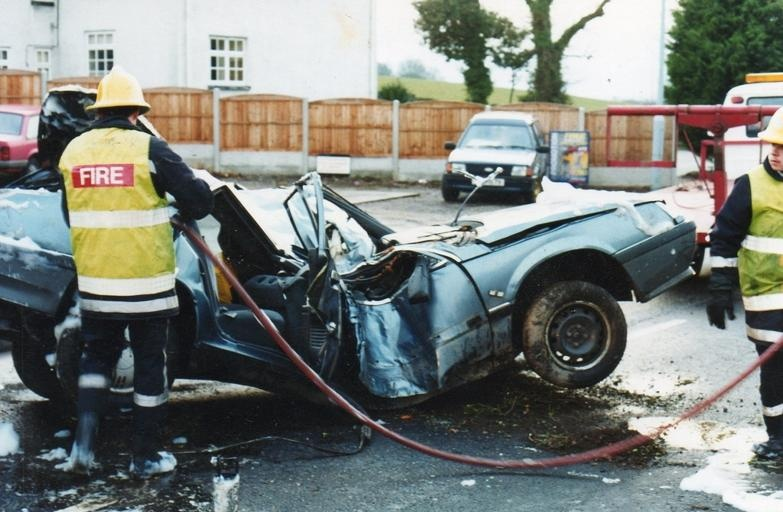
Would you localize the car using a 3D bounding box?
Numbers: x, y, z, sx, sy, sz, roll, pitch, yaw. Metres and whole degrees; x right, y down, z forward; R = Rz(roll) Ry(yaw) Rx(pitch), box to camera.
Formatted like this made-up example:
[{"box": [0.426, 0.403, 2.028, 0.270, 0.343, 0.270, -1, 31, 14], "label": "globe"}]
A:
[{"box": [-0.287, -0.113, 9.246, 5.925, 2.061, 2.996, -1, 9, -11], "label": "car"}]

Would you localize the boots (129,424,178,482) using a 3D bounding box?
[{"box": [-1.904, 1.524, 7.859, 0.437, 0.418, 0.391, -2, 5, -20], "label": "boots"}]

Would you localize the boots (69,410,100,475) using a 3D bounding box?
[{"box": [-2.410, 1.445, 7.768, 0.256, 0.435, 0.172, 10, -15, -23], "label": "boots"}]

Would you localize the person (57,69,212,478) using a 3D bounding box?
[{"box": [-2.053, 0.099, 7.863, 1.076, 3.146, 0.832, -2, 10, -12], "label": "person"}]

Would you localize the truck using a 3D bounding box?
[{"box": [4.163, -1.497, 13.339, 2.255, 1.819, 3.864, 2, 7, 17], "label": "truck"}]

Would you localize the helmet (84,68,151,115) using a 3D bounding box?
[{"box": [-2.192, -1.333, 8.070, 0.405, 0.235, 0.416, -1, 3, -6], "label": "helmet"}]
